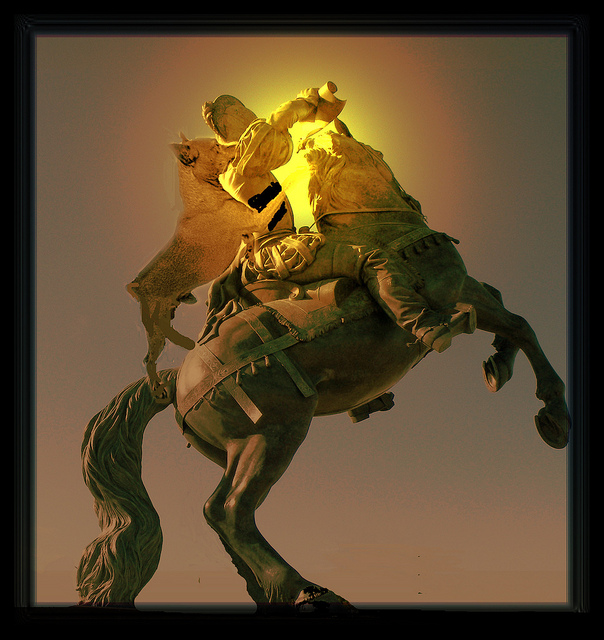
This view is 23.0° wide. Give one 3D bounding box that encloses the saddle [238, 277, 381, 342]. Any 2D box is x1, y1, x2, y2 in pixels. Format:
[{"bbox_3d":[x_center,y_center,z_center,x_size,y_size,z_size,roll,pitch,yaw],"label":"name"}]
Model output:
[{"bbox_3d":[0.039,-0.076,6.470,0.480,0.139,0.315,-11,31,0],"label":"saddle"}]
